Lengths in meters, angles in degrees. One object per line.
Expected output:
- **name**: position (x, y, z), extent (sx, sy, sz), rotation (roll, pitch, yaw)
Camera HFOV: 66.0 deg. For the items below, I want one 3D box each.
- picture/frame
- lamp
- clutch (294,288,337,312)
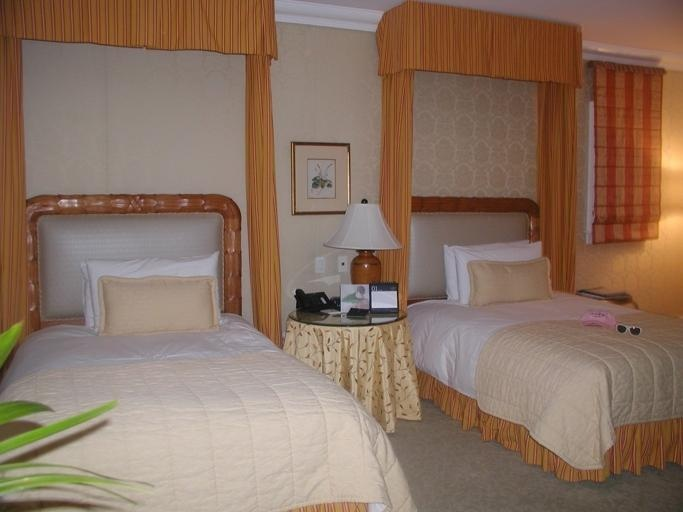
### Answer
- **picture/frame**: position (-0.200, -0.684, 4.528), extent (0.565, 0.748, 0.047), rotation (-3, 8, -18)
- **lamp**: position (0.194, -0.069, 4.313), extent (0.574, 0.749, 0.597), rotation (-1, -3, 37)
- **clutch**: position (-0.224, 0.341, 4.202), extent (0.180, 0.118, 0.257), rotation (-2, -3, -27)
